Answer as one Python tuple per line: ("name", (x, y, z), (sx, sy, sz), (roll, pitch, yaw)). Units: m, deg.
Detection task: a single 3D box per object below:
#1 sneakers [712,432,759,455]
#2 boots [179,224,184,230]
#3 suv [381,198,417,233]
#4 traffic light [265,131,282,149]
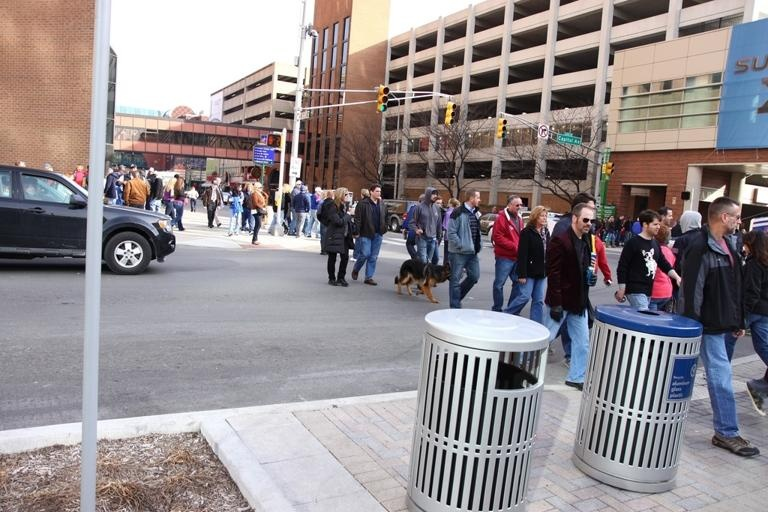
("sneakers", (3.614, 1.978, 6.118), (0.404, 0.184, 0.174), (1, 1, 39))
("boots", (-8.186, -1.167, 23.639), (0.194, 0.231, 0.321), (-1, 6, -28))
("suv", (0.625, -2.318, 34.593), (1.569, 1.608, 2.985), (-4, 16, -25))
("traffic light", (-4.768, -4.995, 25.296), (0.670, 0.699, 0.647), (-5, 10, -26))
